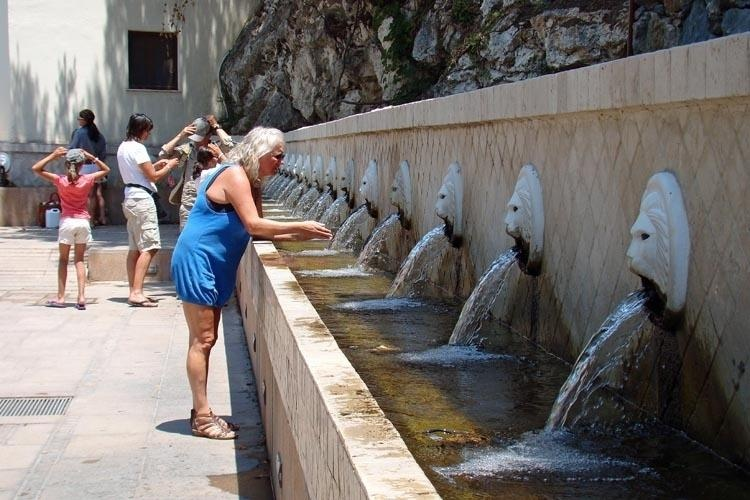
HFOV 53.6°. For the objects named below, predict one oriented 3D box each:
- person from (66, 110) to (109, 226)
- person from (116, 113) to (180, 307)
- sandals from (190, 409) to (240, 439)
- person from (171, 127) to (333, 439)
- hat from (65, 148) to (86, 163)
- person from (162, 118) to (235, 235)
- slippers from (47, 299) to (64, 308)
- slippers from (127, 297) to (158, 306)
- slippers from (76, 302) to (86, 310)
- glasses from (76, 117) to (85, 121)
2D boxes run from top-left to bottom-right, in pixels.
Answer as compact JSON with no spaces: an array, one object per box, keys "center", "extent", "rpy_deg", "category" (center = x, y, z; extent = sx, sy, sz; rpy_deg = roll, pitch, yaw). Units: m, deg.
[{"center":[-6.566,-1.872,17.082],"extent":[0.722,2.677,0.880],"rpy_deg":[13,18,35],"category":"person"},{"center":[-2.694,-0.410,8.676],"extent":[0.503,2.272,0.817],"rpy_deg":[-4,10,-31],"category":"person"},{"center":[-1.147,1.244,5.284],"extent":[0.274,0.133,0.194],"rpy_deg":[2,2,-1],"category":"sandals"},{"center":[-0.925,0.294,4.878],"extent":[0.716,2.174,1.101],"rpy_deg":[-4,10,-30],"category":"person"},{"center":[-3.466,-1.074,8.582],"extent":[0.164,0.192,0.235],"rpy_deg":[-5,-14,-4],"category":"hat"},{"center":[-2.117,-0.690,8.891],"extent":[0.816,1.788,0.544],"rpy_deg":[-1,7,-11],"category":"person"},{"center":[-3.847,0.624,8.965],"extent":[0.243,0.103,0.088],"rpy_deg":[11,8,44],"category":"slippers"},{"center":[-2.817,0.634,9.065],"extent":[0.369,0.170,0.154],"rpy_deg":[0,2,-6],"category":"slippers"},{"center":[-3.477,0.670,8.778],"extent":[0.050,0.066,0.146],"rpy_deg":[-1,6,-14],"category":"slippers"},{"center":[-5.513,-2.452,13.899],"extent":[0.117,0.112,0.093],"rpy_deg":[-6,6,-12],"category":"glasses"}]
